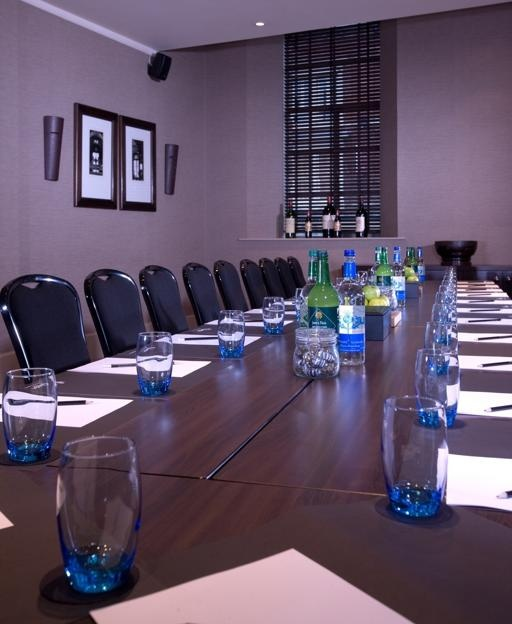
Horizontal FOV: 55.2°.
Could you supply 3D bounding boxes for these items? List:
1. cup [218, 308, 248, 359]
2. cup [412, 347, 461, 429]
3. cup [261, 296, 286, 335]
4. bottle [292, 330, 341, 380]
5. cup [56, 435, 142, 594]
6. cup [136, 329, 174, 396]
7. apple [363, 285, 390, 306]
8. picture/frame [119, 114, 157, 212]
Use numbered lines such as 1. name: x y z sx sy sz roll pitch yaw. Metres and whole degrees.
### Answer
1. cup: -0.088 0.083 1.772 0.111 0.174 0.135 -1 -2 10
2. cup: 0.357 0.140 0.963 0.071 0.156 0.083 2 19 27
3. cup: 0.080 0.018 2.275 0.106 0.244 0.135 -1 5 0
4. bottle: 0.181 0.097 1.442 0.117 0.173 0.153 3 29 9
5. cup: -0.138 0.164 0.441 0.073 0.159 0.082 -2 19 -20
6. cup: -0.262 0.118 1.325 0.110 0.247 0.130 -2 4 -14
7. apple: 0.564 -0.064 2.273 0.091 0.090 0.153 1 -4 2
8. picture/frame: -1.337 -1.667 5.556 0.073 1.060 0.615 1 2 28
